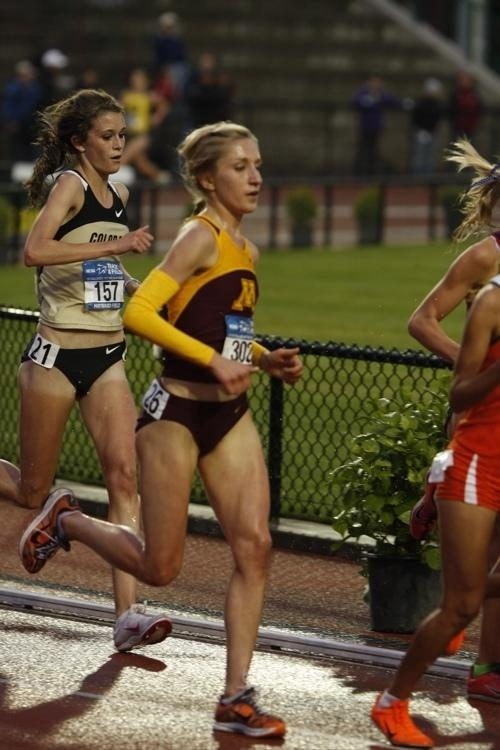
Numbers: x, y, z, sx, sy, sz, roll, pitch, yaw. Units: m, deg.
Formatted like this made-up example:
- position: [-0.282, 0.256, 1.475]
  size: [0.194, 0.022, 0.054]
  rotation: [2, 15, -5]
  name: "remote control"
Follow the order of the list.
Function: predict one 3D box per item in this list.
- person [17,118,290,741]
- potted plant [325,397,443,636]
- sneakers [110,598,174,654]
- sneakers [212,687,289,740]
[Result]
- position: [-0.188, 0.097, 2.509]
  size: [0.665, 1.766, 0.917]
  rotation: [2, 8, -12]
  name: "person"
- position: [0.524, 0.672, 3.646]
  size: [0.669, 0.891, 0.528]
  rotation: [-5, -19, 12]
  name: "potted plant"
- position: [-0.409, 0.926, 2.994]
  size: [0.284, 0.139, 0.121]
  rotation: [-28, -23, 24]
  name: "sneakers"
- position: [-0.010, 0.963, 2.336]
  size: [0.261, 0.136, 0.093]
  rotation: [1, -12, 25]
  name: "sneakers"
